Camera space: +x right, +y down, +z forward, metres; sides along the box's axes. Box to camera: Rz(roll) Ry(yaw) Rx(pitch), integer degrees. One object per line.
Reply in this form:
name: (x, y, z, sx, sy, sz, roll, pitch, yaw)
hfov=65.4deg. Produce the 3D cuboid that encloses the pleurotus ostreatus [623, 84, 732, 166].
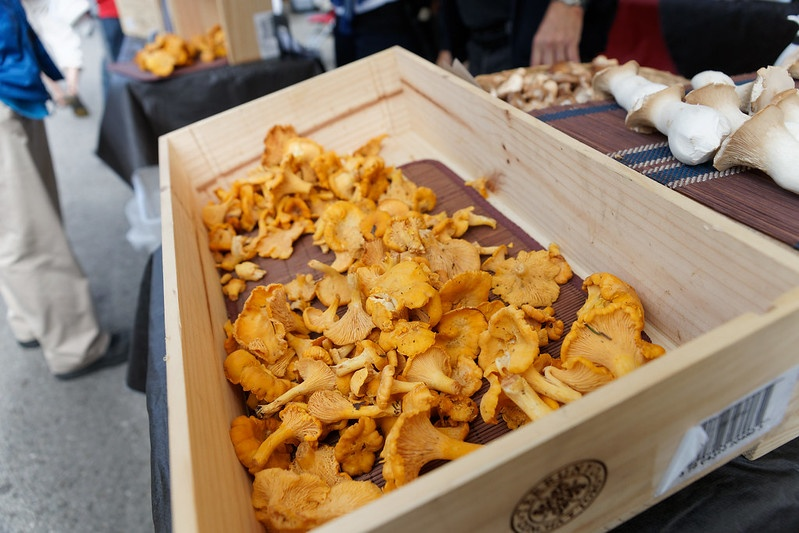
pleurotus ostreatus: (1.013, -0.533, 2.261, 0.203, 0.168, 0.357, -22, 35, -5)
